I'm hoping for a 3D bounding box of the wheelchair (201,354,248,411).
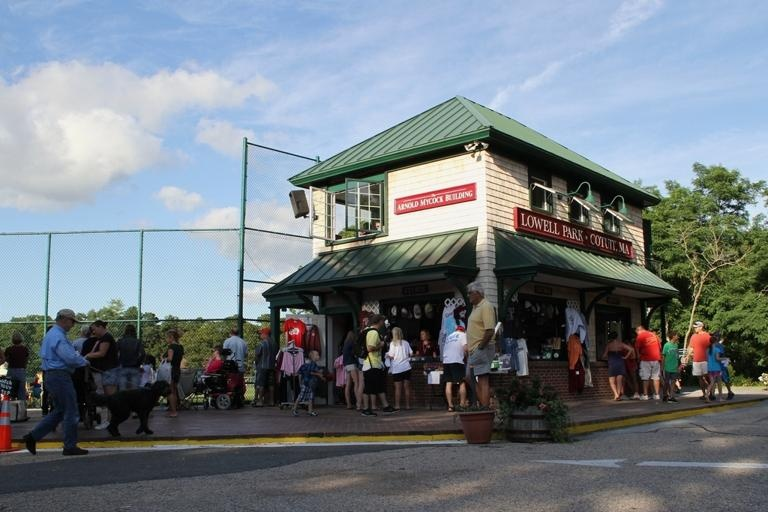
[{"bbox_3d":[-4.450,3.768,22.770,1.631,2.036,1.323,5,-11,-28],"label":"wheelchair"}]

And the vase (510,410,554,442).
[{"bbox_3d":[2.960,3.389,15.455,0.672,0.469,0.687,-7,-13,34],"label":"vase"}]

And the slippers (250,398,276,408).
[{"bbox_3d":[-3.733,4.567,23.742,0.879,0.344,0.280,11,-20,-26],"label":"slippers"}]

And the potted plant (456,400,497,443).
[{"bbox_3d":[1.839,3.399,15.492,0.768,0.532,0.730,4,-16,-15],"label":"potted plant"}]

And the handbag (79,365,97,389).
[{"bbox_3d":[-6.839,2.852,17.916,0.269,0.525,1.003,0,-13,-12],"label":"handbag"}]

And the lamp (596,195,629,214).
[{"bbox_3d":[8.177,-1.807,27.672,1.063,0.674,0.777,5,-2,17],"label":"lamp"}]
